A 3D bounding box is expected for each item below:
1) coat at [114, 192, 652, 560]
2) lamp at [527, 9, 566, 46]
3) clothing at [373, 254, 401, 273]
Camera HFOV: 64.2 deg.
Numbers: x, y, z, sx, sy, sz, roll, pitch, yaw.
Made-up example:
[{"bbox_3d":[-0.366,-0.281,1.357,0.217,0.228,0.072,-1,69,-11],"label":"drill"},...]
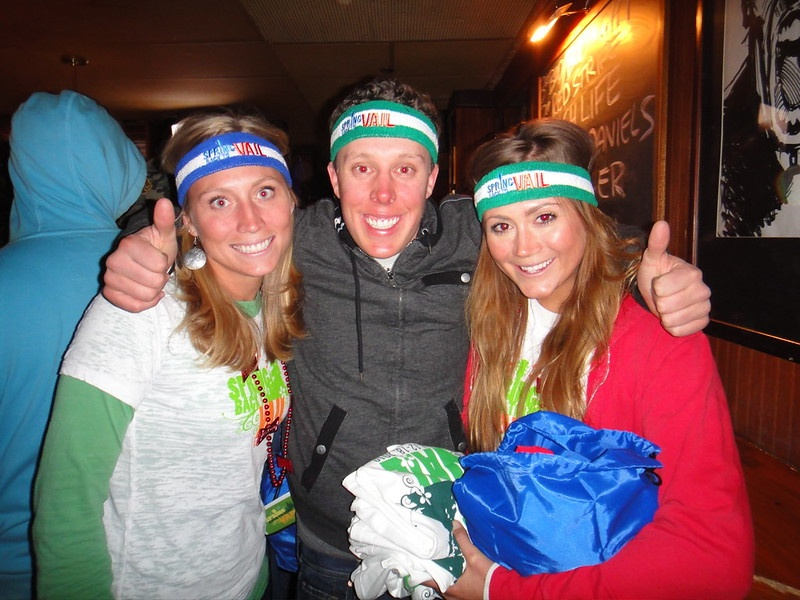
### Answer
[{"bbox_3d":[-0.059,0.278,3.095,1.624,2.094,0.710,0,-3,-16],"label":"coat"},{"bbox_3d":[1.099,-2.026,4.705,0.082,0.101,0.349,-2,-17,-13],"label":"lamp"},{"bbox_3d":[-0.061,-0.184,3.160,0.084,0.068,0.105,-25,-16,-4],"label":"clothing"}]
